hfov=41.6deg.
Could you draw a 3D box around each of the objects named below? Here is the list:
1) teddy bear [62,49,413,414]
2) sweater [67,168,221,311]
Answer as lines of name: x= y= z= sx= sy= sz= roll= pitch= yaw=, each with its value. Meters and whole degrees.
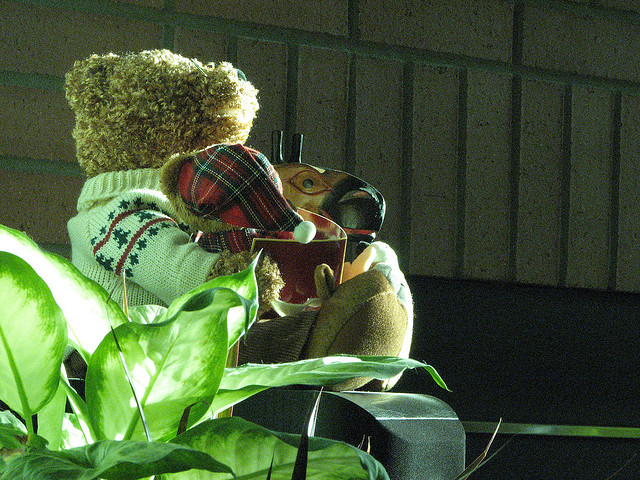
teddy bear: x=-0.190 y=-0.021 z=1.781 sx=0.762 sy=0.726 sz=0.471 roll=0 pitch=-7 yaw=7
sweater: x=-0.369 y=-0.012 z=1.723 sx=0.298 sy=0.318 sz=0.284 roll=-3 pitch=0 yaw=-23
